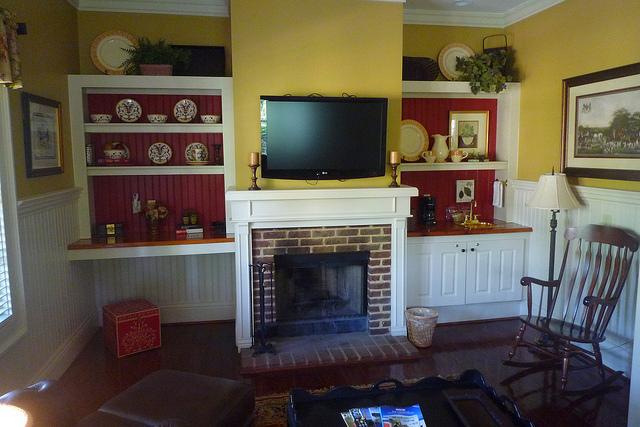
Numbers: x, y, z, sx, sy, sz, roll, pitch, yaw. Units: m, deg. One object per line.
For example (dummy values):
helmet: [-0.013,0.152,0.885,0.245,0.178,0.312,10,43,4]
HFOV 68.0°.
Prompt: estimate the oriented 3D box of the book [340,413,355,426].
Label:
book: [0.198,1.500,3.466,0.044,0.066,0.066,-16,33,-8]

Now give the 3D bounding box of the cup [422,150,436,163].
cup: [1.298,-0.683,5.712,0.164,0.142,0.175,-3,9,0]

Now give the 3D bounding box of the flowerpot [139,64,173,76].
flowerpot: [-1.738,-1.507,5.009,0.225,0.088,0.151,0,6,-14]

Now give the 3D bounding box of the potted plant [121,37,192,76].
potted plant: [-1.716,-1.633,5.011,0.522,0.239,0.477,-1,10,-11]

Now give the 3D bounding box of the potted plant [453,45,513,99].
potted plant: [1.944,-1.685,5.586,0.693,0.591,0.425,-4,9,-2]

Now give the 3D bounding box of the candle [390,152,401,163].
candle: [0.789,-0.591,5.020,0.125,0.139,0.125,0,8,2]

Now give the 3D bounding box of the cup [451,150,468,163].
cup: [1.702,-0.691,5.760,0.204,0.143,0.132,3,7,3]

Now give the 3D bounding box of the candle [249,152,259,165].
candle: [-0.660,-0.538,4.688,0.105,0.119,0.105,-1,1,-1]

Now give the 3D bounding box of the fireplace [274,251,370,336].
fireplace: [-0.015,0.861,5.119,0.916,0.757,0.328,-1,2,-6]

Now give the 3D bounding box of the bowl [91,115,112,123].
bowl: [-2.357,-1.012,5.097,0.183,0.088,0.102,-7,9,-25]

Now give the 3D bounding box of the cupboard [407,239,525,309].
cupboard: [1.633,0.646,5.672,1.595,0.787,0.513,-1,5,-15]

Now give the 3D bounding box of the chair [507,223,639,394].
chair: [2.457,0.831,4.689,1.052,1.429,1.036,-9,10,-32]

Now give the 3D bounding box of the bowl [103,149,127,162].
bowl: [-2.233,-0.633,5.202,0.145,0.084,0.165,1,2,20]

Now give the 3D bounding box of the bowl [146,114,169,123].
bowl: [-1.771,-1.025,5.162,0.130,0.056,0.132,0,6,0]
